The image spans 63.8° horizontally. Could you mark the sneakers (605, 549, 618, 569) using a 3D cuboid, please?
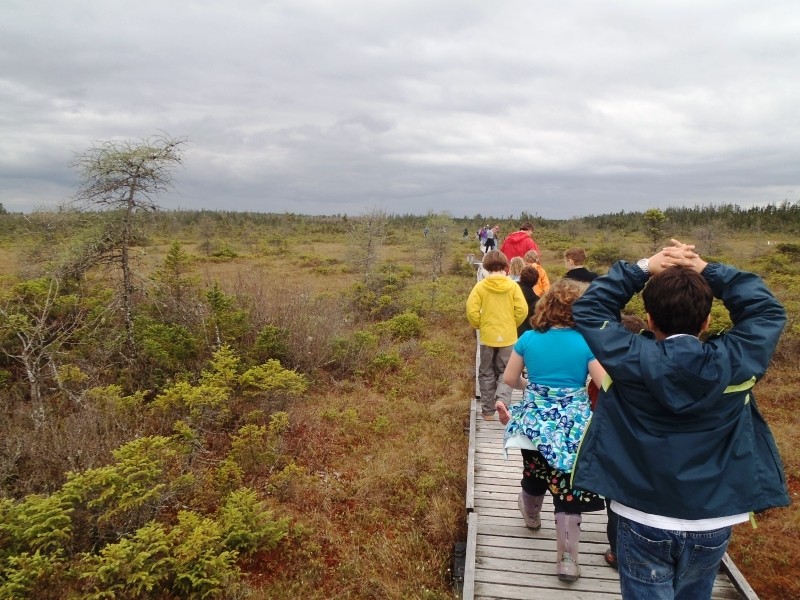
[{"bbox_3d":[2.284,2.768,6.926,0.095,0.086,0.200,0,23,1],"label":"sneakers"}]

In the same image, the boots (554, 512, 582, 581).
[{"bbox_3d":[1.736,2.532,6.677,0.256,0.637,0.650,1,-3,13],"label":"boots"}]
